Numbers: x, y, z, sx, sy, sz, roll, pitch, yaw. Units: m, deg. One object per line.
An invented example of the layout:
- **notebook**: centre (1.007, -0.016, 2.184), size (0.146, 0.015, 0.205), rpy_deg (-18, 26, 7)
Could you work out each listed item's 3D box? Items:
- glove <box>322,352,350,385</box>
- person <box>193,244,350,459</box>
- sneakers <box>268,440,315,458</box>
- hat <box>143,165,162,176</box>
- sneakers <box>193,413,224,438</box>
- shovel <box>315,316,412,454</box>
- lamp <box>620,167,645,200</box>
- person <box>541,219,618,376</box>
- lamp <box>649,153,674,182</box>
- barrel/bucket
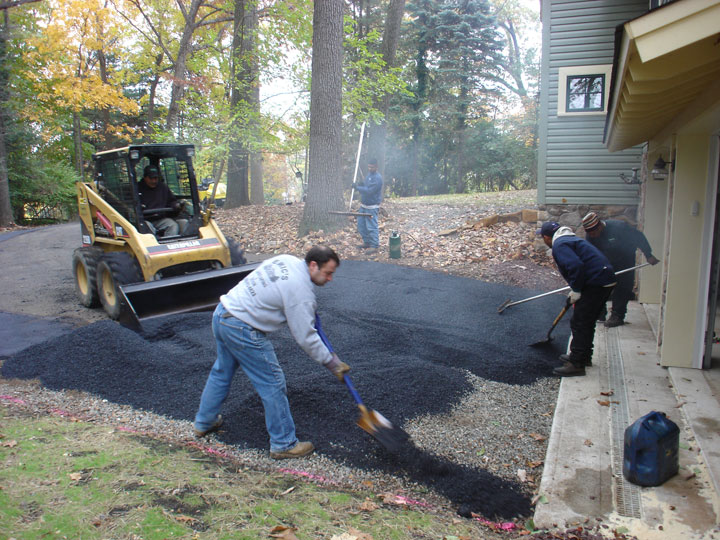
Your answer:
- **glove**: centre (-0.247, 0.871, 4.568), size (0.271, 0.090, 0.200), rpy_deg (39, 14, 3)
- **person**: centre (-0.787, 0.716, 4.578), size (1.321, 1.847, 0.495), rpy_deg (3, 13, 20)
- **sneakers**: centre (-0.594, 1.588, 4.527), size (0.353, 0.154, 0.143), rpy_deg (-10, 14, -10)
- **hat**: centre (-3.294, -1.565, 8.109), size (0.196, 0.188, 0.147), rpy_deg (-26, -22, 39)
- **sneakers**: centre (-1.425, 1.448, 4.900), size (0.115, 0.149, 0.337), rpy_deg (14, 22, 19)
- **shovel**: centre (-0.103, 1.108, 4.840), size (0.317, 0.147, 1.459), rpy_deg (-11, 46, -44)
- **lamp**: centre (5.881, -1.925, 11.110), size (0.390, 0.552, 1.391), rpy_deg (4, 12, 24)
- **person**: centre (2.497, 0.325, 5.885), size (0.739, 1.690, 0.716), rpy_deg (5, 14, 29)
- **lamp**: centre (4.376, -1.481, 7.416), size (0.209, 0.354, 0.906), rpy_deg (5, 12, 28)
- **barrel/bucket**: centre (2.428, 1.453, 4.272), size (0.555, 0.518, 0.338), rpy_deg (-6, 6, -36)
